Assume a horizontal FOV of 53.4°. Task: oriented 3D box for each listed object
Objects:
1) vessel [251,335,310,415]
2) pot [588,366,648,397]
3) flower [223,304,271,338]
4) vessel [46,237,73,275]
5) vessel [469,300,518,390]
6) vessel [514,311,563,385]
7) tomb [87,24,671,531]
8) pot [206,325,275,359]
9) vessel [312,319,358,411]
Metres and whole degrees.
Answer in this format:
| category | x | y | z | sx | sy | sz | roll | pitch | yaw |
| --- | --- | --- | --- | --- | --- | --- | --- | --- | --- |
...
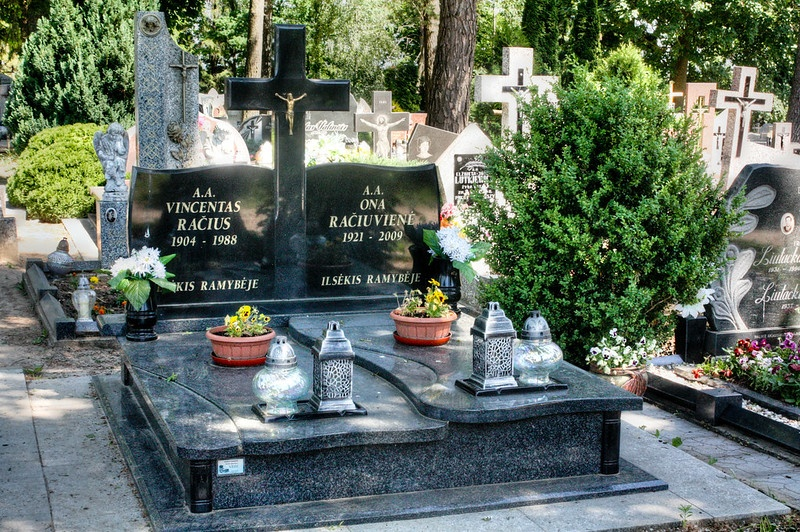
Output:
| category | x | y | z | sx | sy | sz | roll | pitch | yaw |
| --- | --- | --- | --- | --- | --- | --- | --- | --- | --- |
| vessel | -1.115 | 1.002 | 7.385 | 0.496 | 0.716 | 0.268 | -3 | 13 | -11 |
| pot | 2.583 | 1.287 | 9.231 | 0.452 | 0.312 | 0.440 | 2 | 1 | 0 |
| flower | -1.696 | 0.626 | 8.786 | 0.378 | 0.292 | 0.478 | 0 | 5 | -3 |
| vessel | -5.549 | -0.170 | 12.965 | 0.394 | 0.572 | 0.281 | -6 | 14 | -23 |
| vessel | 0.911 | 0.760 | 7.704 | 0.445 | 0.825 | 0.258 | 0 | 13 | 5 |
| vessel | 1.483 | 0.811 | 8.067 | 0.655 | 0.804 | 0.644 | 0 | 1 | 28 |
| tomb | -0.692 | 0.740 | 9.543 | 6.073 | 5.147 | 5.477 | -1 | 7 | -17 |
| pot | -1.739 | 0.849 | 8.534 | 0.434 | 0.155 | 0.410 | 2 | 2 | 0 |
| vessel | -0.630 | 0.924 | 7.461 | 0.406 | 0.850 | 0.274 | -2 | 13 | -4 |
